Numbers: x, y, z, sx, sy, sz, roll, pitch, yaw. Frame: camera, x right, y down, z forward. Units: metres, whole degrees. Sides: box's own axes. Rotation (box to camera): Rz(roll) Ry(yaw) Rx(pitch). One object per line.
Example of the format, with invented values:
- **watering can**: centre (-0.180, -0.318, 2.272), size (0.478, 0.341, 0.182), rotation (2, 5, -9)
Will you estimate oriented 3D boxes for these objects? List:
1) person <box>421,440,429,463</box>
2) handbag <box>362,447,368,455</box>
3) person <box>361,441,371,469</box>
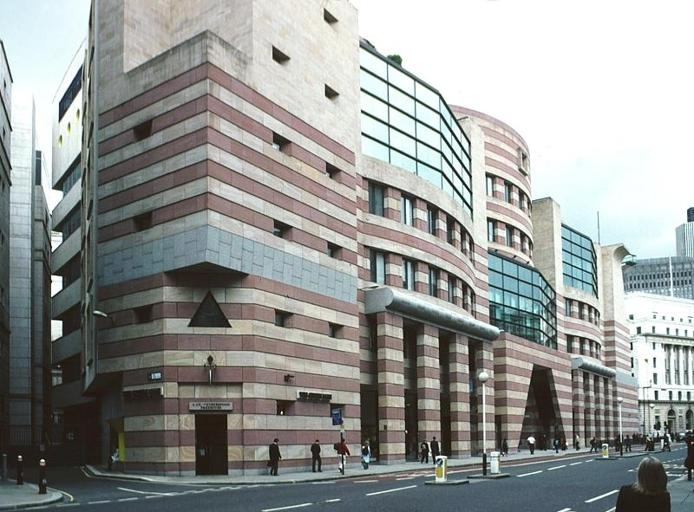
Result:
- **person**: centre (5.857, 14.907, 69.400), size (0.578, 1.563, 1.318), rotation (-3, -20, 3)
- **handbag**: centre (1.288, 13.755, 64.355), size (0.394, 0.645, 0.535), rotation (-2, -20, -1)
- **person**: centre (1.293, 14.041, 64.290), size (0.484, 2.095, 1.257), rotation (-1, -20, -5)
